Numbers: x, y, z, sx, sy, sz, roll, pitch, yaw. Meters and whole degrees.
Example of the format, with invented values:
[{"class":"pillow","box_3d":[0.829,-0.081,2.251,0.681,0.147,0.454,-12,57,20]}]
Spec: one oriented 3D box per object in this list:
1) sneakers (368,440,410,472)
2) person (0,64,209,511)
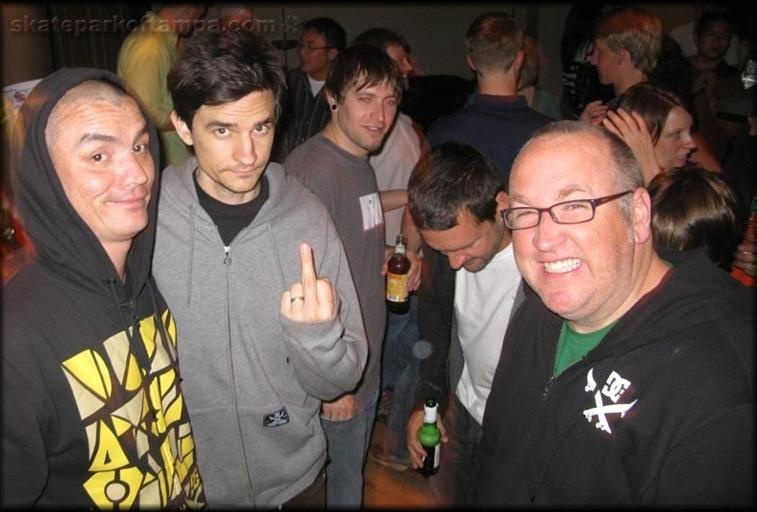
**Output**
[{"class":"sneakers","box_3d":[0.071,1.417,4.396,0.278,0.073,0.161,11,-15,19]},{"class":"person","box_3d":[-1.195,0.205,2.502,0.669,1.853,0.711,-7,18,-15]}]
